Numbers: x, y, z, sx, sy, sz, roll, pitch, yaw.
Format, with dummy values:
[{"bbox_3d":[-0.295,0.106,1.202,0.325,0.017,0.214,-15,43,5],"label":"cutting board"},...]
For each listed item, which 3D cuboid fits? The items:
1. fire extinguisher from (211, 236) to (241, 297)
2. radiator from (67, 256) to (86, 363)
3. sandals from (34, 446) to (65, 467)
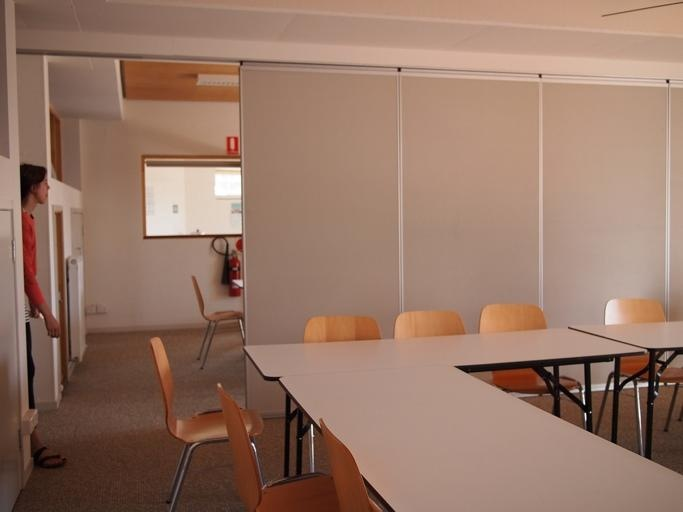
[{"bbox_3d":[-1.696,0.167,8.525,0.460,0.864,0.186,6,-14,-21],"label":"fire extinguisher"},{"bbox_3d":[-2.809,0.583,6.177,0.151,1.175,0.279,1,4,-14],"label":"radiator"},{"bbox_3d":[-2.073,1.435,4.043,0.126,0.100,0.182,8,-1,-15],"label":"sandals"}]
